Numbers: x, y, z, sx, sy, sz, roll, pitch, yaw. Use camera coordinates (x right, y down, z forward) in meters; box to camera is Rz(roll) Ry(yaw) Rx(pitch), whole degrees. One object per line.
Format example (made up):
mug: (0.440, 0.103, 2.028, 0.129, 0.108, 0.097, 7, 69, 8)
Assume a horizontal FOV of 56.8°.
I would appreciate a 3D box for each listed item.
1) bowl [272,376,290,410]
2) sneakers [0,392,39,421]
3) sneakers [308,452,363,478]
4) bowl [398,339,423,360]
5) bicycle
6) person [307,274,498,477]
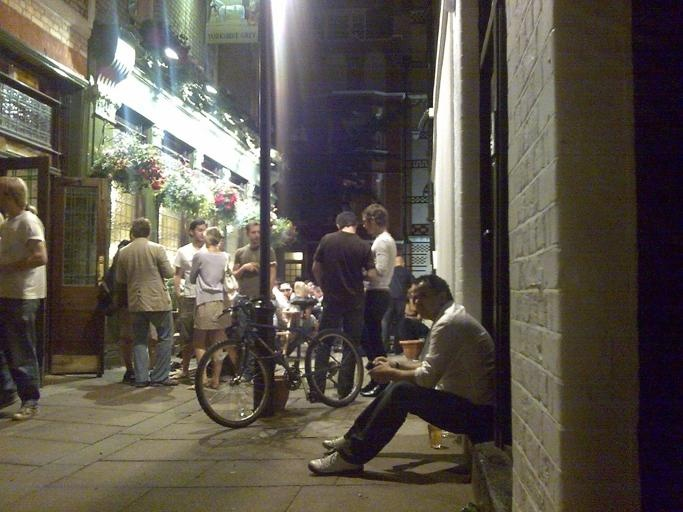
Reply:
bowl: (-0.599, 1.411, 6.462, 0.281, 0.300, 0.291, -2, -16, 0)
sneakers: (-3.110, 1.494, 6.198, 0.193, 0.262, 0.576, 3, -15, 1)
sneakers: (-0.038, 1.407, 4.333, 0.366, 0.166, 0.152, 5, -5, 1)
bowl: (0.728, 0.932, 6.394, 0.243, 0.189, 0.244, 0, -1, 0)
bicycle: (-0.606, 1.088, 6.147, 0.873, 1.077, 1.818, -22, -20, 40)
person: (0.451, 0.989, 4.796, 1.460, 1.555, 0.898, 3, -8, 5)
